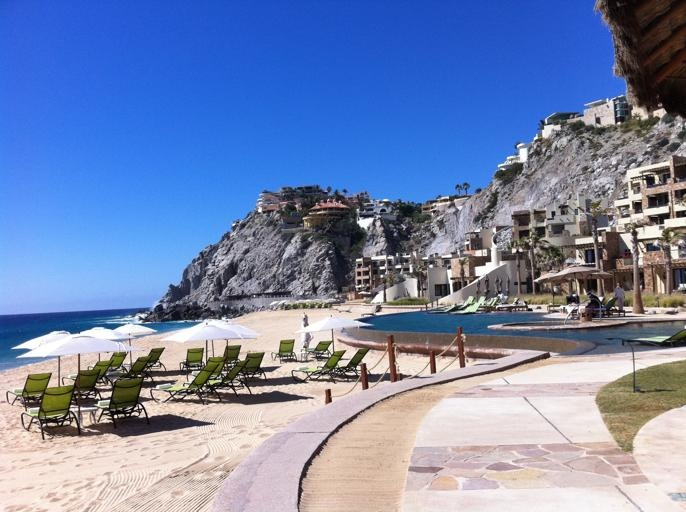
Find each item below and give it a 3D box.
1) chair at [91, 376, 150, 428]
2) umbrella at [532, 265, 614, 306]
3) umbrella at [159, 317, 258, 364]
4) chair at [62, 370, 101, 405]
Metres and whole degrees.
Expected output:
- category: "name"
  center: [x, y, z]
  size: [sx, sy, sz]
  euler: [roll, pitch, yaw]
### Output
- category: "chair"
  center: [-4.737, 3.086, 12.070]
  size: [0.671, 0.717, 1.214]
  euler: [5, -18, -38]
- category: "umbrella"
  center: [10.952, 1.598, 25.831]
  size: [2.737, 0.745, 2.528]
  euler: [-7, 2, 2]
- category: "umbrella"
  center: [-3.711, 2.196, 16.837]
  size: [2.227, 0.689, 1.886]
  euler: [-3, -6, 3]
- category: "chair"
  center: [-6.520, 3.177, 14.094]
  size: [0.959, 0.611, 0.634]
  euler: [-17, -20, 33]
